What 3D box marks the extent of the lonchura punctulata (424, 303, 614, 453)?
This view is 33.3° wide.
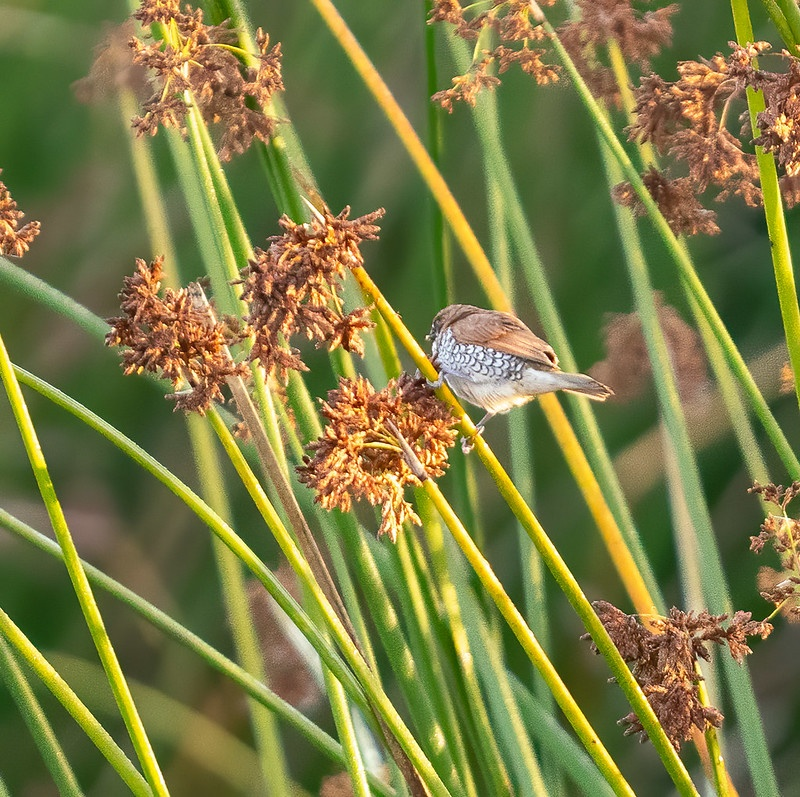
[{"bbox_3d":[0.082,-0.015,1.103,0.192,0.144,0.073,0,16,33],"label":"lonchura punctulata"}]
